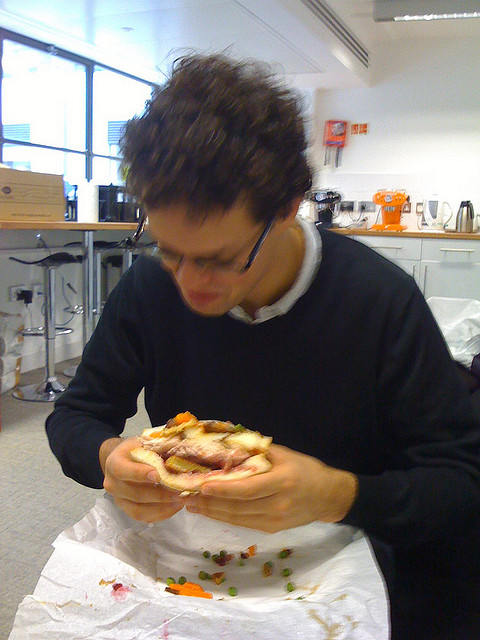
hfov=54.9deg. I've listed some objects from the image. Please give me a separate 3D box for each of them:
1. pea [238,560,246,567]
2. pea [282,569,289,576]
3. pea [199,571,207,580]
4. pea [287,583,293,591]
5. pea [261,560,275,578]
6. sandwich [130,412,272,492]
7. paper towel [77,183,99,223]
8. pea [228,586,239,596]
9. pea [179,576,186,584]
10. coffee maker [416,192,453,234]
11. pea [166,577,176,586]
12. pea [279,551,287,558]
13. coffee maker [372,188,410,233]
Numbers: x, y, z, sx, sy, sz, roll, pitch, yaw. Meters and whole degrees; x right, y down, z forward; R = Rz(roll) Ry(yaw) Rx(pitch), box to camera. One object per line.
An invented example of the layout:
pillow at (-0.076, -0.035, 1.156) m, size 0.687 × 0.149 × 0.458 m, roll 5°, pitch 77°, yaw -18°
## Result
pea at (0.002, 0.304, 0.581) m, size 0.006 × 0.003 × 0.005 m, roll 12°, pitch 6°, yaw 37°
pea at (0.053, 0.294, 0.541) m, size 0.006 × 0.004 × 0.009 m, roll -5°, pitch 5°, yaw -14°
pea at (-0.045, 0.308, 0.562) m, size 0.011 × 0.008 × 0.007 m, roll 0°, pitch 6°, yaw 40°
pea at (0.055, 0.292, 0.508) m, size 0.006 × 0.004 × 0.012 m, roll -3°, pitch 5°, yaw 3°
pea at (0.034, 0.302, 0.561) m, size 0.016 × 0.010 × 0.021 m, roll -3°, pitch 5°, yaw 4°
sandwich at (-0.047, 0.140, 0.502) m, size 0.082 × 0.032 × 0.079 m, roll 2°, pitch 19°, yaw 14°
paper towel at (-1.024, -0.795, 3.126) m, size 0.141 × 0.284 × 0.234 m, roll -5°, pitch 5°, yaw -20°
pea at (-0.007, 0.306, 0.525) m, size 0.007 × 0.004 × 0.008 m, roll -1°, pitch 13°, yaw -35°
pea at (-0.068, 0.306, 0.545) m, size 0.007 × 0.006 × 0.015 m, roll -4°, pitch 5°, yaw -5°
coffee maker at (1.884, -1.049, 4.527) m, size 0.352 × 0.374 × 0.272 m, roll 6°, pitch 4°, yaw 42°
pea at (-0.081, 0.300, 0.534) m, size 0.007 × 0.006 × 0.010 m, roll -1°, pitch -8°, yaw 0°
pea at (0.053, 0.289, 0.573) m, size 0.011 × 0.006 × 0.007 m, roll 0°, pitch 6°, yaw 33°
coffee maker at (1.453, -1.066, 4.442) m, size 0.325 × 0.410 × 0.323 m, roll -4°, pitch 11°, yaw -35°
